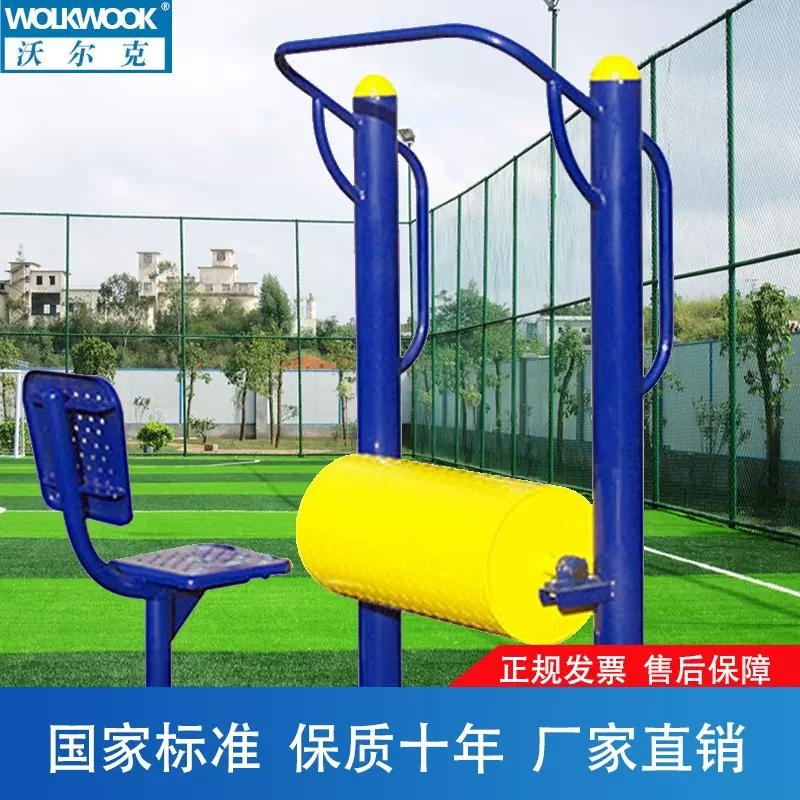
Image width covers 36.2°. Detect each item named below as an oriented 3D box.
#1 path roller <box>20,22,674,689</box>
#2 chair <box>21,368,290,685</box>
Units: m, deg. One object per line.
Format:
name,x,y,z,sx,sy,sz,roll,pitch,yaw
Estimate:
path roller,-0.150,-0.065,4.033,2.072,2.109,1.225,-3,-4,17
chair,-0.810,0.473,4.004,0.448,1.252,0.652,0,6,45
